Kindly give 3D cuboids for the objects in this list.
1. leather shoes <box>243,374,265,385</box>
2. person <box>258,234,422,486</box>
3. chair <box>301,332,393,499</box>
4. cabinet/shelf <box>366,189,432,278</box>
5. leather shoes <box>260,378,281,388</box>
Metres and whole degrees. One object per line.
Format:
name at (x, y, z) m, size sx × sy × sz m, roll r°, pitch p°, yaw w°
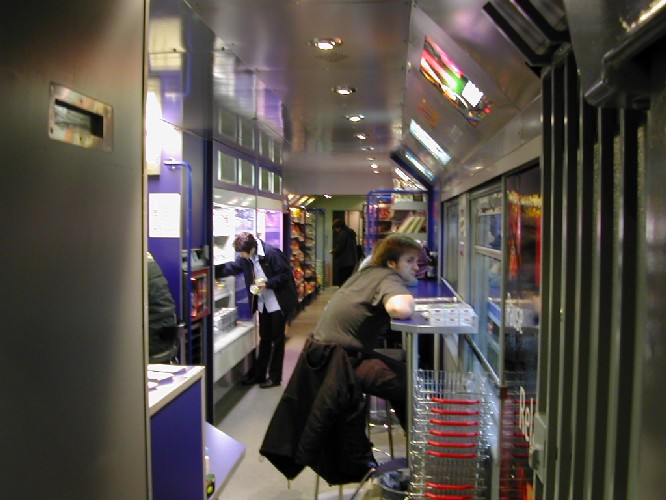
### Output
leather shoes at (-0.824, 1.368, 5.728) m, size 0.256 × 0.122 × 0.092 m, roll 6°, pitch -5°, yaw 9°
person at (0.253, 0.633, 3.435) m, size 0.800 × 1.427 × 1.183 m, roll 10°, pitch 4°, yaw 37°
chair at (0.193, 1.394, 4.186) m, size 0.533 × 0.855 × 0.590 m, roll 3°, pitch -1°, yaw -2°
cabinet/shelf at (0.800, -0.299, 6.977) m, size 0.970 × 1.514 × 0.766 m, roll 0°, pitch 2°, yaw 6°
leather shoes at (-0.661, 1.363, 5.600) m, size 0.202 × 0.096 × 0.081 m, roll 4°, pitch -3°, yaw -2°
